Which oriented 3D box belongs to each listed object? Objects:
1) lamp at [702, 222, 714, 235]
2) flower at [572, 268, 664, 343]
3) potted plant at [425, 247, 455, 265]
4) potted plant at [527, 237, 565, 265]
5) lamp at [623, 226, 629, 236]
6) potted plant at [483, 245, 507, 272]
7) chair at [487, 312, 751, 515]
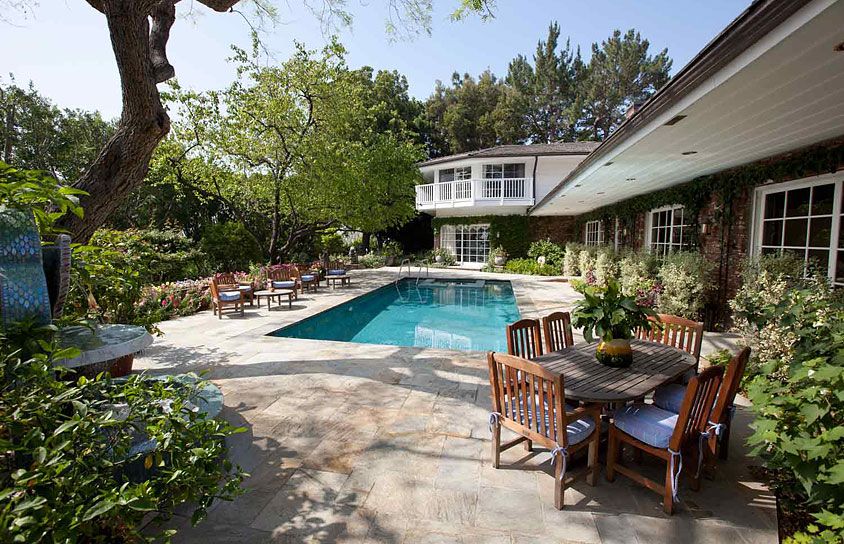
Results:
[{"bbox_3d":[6.264,-0.898,10.086,0.215,0.272,0.286,0,5,17],"label":"lamp"},{"bbox_3d":[2.370,0.500,5.757,0.959,0.618,0.862,11,4,34],"label":"flower"},{"bbox_3d":[1.073,-0.734,26.205,1.326,0.845,1.238,1,2,11],"label":"potted plant"},{"bbox_3d":[6.113,-0.926,22.660,1.346,0.894,1.287,2,19,0],"label":"potted plant"},{"bbox_3d":[6.762,-1.276,15.257,0.217,0.378,0.393,2,7,15],"label":"lamp"},{"bbox_3d":[4.073,-0.600,23.715,1.395,1.690,1.314,0,2,-8],"label":"potted plant"},{"bbox_3d":[2.012,1.631,5.149,2.209,0.963,2.132,-6,9,-37],"label":"chair"}]
